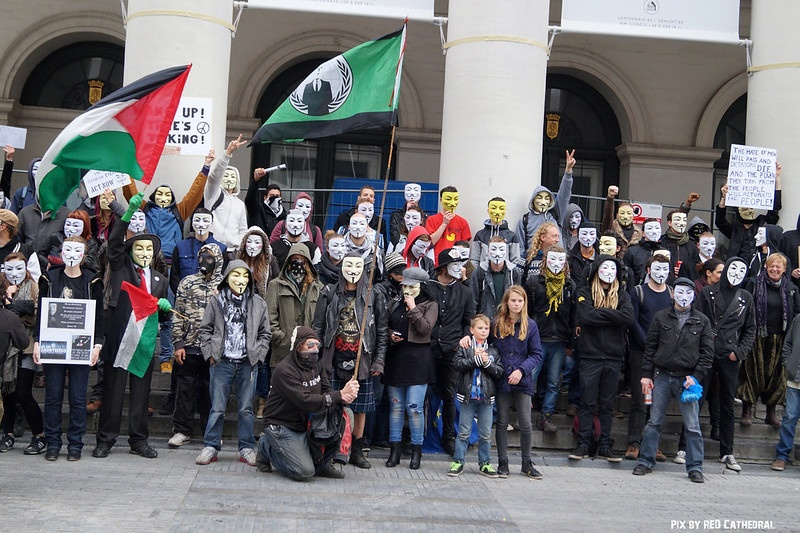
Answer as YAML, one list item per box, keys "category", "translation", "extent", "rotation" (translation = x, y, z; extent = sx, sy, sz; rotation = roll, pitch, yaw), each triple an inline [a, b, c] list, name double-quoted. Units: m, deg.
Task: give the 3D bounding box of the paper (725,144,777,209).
- category: "paper"
  translation: [5.931, -1.485, 13.572]
  extent: [0.969, 1.293, 0.054]
  rotation: [12, -16, -9]

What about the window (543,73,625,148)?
- category: "window"
  translation: [4.357, -3.772, 19.319]
  extent: [1.749, 1.222, 0.131]
  rotation: [3, 12, -5]

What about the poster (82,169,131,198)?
- category: "poster"
  translation: [-4.303, -1.219, 11.757]
  extent: [0.501, 0.358, 0.026]
  rotation: [-4, -2, -3]

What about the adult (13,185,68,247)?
- category: "adult"
  translation: [-5.559, -0.748, 12.506]
  extent: [0.901, 0.975, 0.446]
  rotation: [4, -26, -4]

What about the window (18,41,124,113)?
- category: "window"
  translation: [-7.431, -4.211, 17.866]
  extent: [2.826, 1.856, 0.120]
  rotation: [-1, 9, -6]

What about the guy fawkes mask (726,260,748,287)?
- category: "guy fawkes mask"
  translation: [5.076, 0.093, 12.175]
  extent: [0.307, 0.470, 0.221]
  rotation: [13, -3, 0]

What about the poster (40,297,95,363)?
- category: "poster"
  translation: [-4.481, 0.880, 10.790]
  extent: [0.796, 1.024, 0.081]
  rotation: [3, -9, -8]

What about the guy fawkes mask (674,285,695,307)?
- category: "guy fawkes mask"
  translation: [4.040, 0.415, 11.474]
  extent: [0.306, 0.379, 0.184]
  rotation: [1, 0, 3]

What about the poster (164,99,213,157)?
- category: "poster"
  translation: [-3.354, -2.195, 12.720]
  extent: [0.985, 1.140, 0.050]
  rotation: [-1, -23, 1]

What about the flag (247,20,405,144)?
- category: "flag"
  translation: [-1.478, -3.652, 15.492]
  extent: [3.699, 2.953, 0.343]
  rotation: [2, -6, 7]
